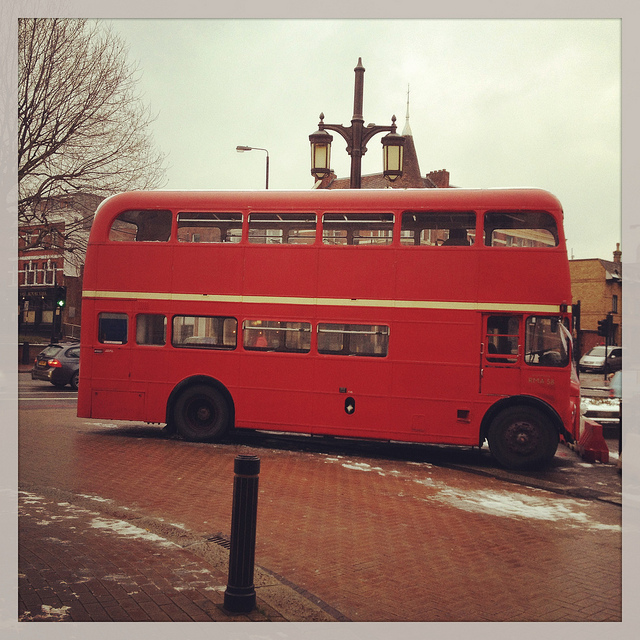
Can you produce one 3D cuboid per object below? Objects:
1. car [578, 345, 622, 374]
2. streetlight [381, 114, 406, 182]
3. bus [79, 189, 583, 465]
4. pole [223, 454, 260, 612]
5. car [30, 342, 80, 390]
[{"bbox_3d":[10.993,1.553,30.308,2.301,1.367,1.345,7,-7,-44],"label":"car"},{"bbox_3d":[1.431,-3.367,15.149,0.423,1.198,0.681,2,2,7],"label":"streetlight"},{"bbox_3d":[-0.213,-0.015,15.578,9.475,6.753,4.034,-1,0,11],"label":"bus"},{"bbox_3d":[-0.655,1.758,6.490,0.271,1.243,0.366,1,2,-7],"label":"pole"},{"bbox_3d":[-7.309,1.251,22.700,2.130,1.146,1.031,-2,3,-41],"label":"car"}]
